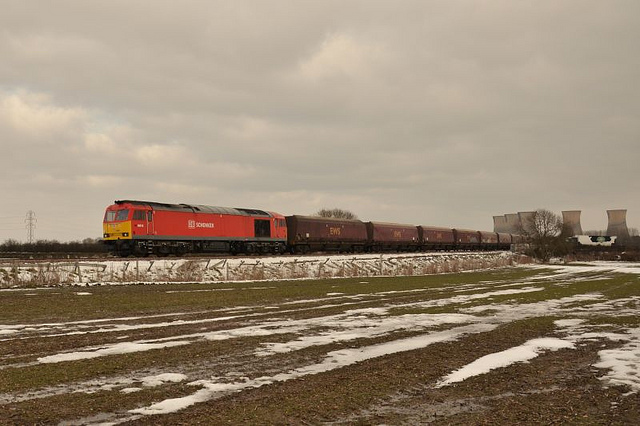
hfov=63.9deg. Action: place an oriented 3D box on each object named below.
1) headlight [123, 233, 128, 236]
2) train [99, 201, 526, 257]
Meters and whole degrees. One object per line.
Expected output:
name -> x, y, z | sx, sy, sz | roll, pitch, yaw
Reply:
headlight -> -14.358, 1.564, 37.487 | 0.324, 0.241, 0.068 | 5, 3, -3
train -> 6.599, 3.522, 60.884 | 61.176, 4.223, 3.223 | 5, -21, -39
